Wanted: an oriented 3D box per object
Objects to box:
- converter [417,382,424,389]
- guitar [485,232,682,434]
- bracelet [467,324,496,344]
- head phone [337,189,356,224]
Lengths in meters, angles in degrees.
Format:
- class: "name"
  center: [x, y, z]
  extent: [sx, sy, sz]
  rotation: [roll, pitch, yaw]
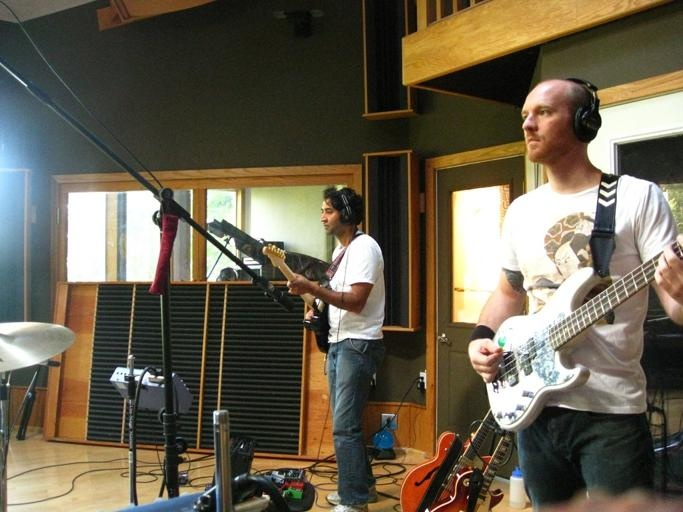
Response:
- class: "converter"
  center: [0.646, 1.065, 5.856]
  extent: [0.030, 0.062, 0.059]
  rotation: [3, -7, -19]
- class: "guitar"
  center: [0.982, 0.403, 3.085]
  extent: [0.783, 0.720, 0.168]
  rotation: [-8, -10, 43]
- class: "bracelet"
  center: [0.670, 0.369, 3.401]
  extent: [0.083, 0.068, 0.086]
  rotation: [2, 9, 23]
- class: "head phone"
  center: [0.028, -0.321, 4.803]
  extent: [0.069, 0.220, 0.191]
  rotation: [-18, -4, -5]
